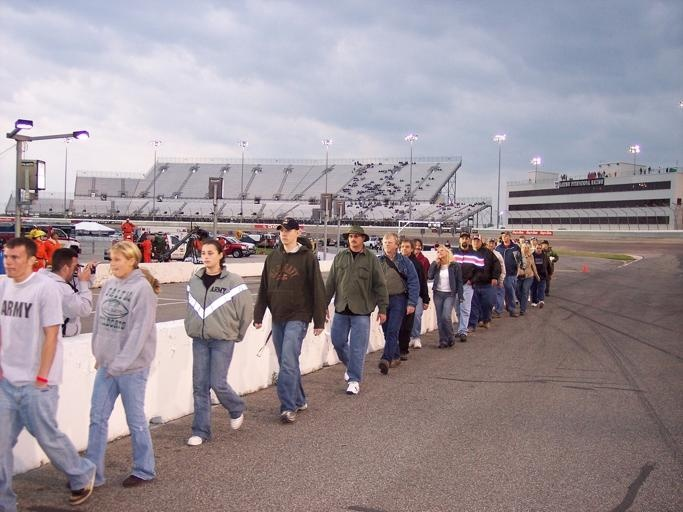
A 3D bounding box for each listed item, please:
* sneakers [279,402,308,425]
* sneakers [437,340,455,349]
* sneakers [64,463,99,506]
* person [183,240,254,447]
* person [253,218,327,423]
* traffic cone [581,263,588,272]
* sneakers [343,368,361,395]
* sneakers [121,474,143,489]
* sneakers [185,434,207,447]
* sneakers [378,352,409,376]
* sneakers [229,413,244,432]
[{"bbox_3d":[-0.570,1.808,7.464,0.117,0.166,0.352,-1,-7,17],"label":"sneakers"},{"bbox_3d":[1.967,1.612,12.007,0.111,0.167,0.369,-20,-19,28],"label":"sneakers"},{"bbox_3d":[-2.216,1.938,5.542,0.134,0.406,0.154,5,-13,-3],"label":"sneakers"},{"bbox_3d":[-1.283,0.852,6.772,0.674,2.058,0.492,-1,5,-15],"label":"person"},{"bbox_3d":[-0.610,0.693,7.542,0.840,2.277,0.737,1,5,7],"label":"person"},{"bbox_3d":[12.488,0.529,33.392,0.235,0.335,0.248,-3,13,27],"label":"traffic cone"},{"bbox_3d":[0.149,1.641,8.613,0.211,0.275,0.419,1,6,2],"label":"sneakers"},{"bbox_3d":[-1.854,1.982,5.729,0.083,0.067,0.156,-1,-11,13],"label":"sneakers"},{"bbox_3d":[-1.478,1.861,6.613,0.183,0.078,0.137,-1,6,-17],"label":"sneakers"},{"bbox_3d":[0.767,1.624,9.857,0.186,0.273,0.612,1,-10,26],"label":"sneakers"},{"bbox_3d":[-1.142,1.783,7.095,0.078,0.093,0.224,1,5,3],"label":"sneakers"}]
